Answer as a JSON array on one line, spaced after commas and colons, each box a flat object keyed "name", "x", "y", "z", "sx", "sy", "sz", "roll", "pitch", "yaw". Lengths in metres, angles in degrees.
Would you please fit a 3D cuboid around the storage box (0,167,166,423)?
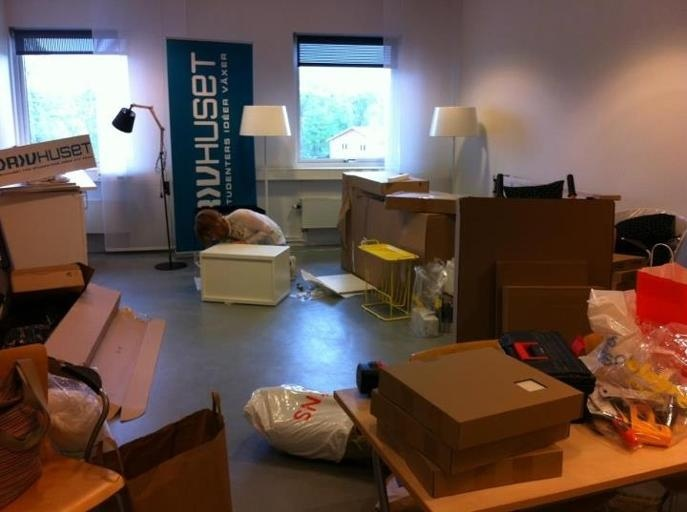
[{"name": "storage box", "x": -1.915, "y": 0.217, "z": 3.812, "sx": 0.931, "sy": 1.188, "sz": 1.663, "roll": -8, "pitch": 20, "yaw": -15}]

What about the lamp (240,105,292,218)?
[{"name": "lamp", "x": -1.006, "y": -1.239, "z": 6.754, "sx": 0.602, "sy": 1.430, "sz": 1.042, "roll": -1, "pitch": 13, "yaw": -6}]

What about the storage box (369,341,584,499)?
[{"name": "storage box", "x": 0.350, "y": 0.414, "z": 1.614, "sx": 0.418, "sy": 0.218, "sz": 0.426, "roll": -5, "pitch": 12, "yaw": -21}]

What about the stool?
[{"name": "stool", "x": 0.406, "y": 0.246, "z": 4.797, "sx": 0.333, "sy": 0.580, "sz": 0.594, "roll": -3, "pitch": 9, "yaw": -25}]

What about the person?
[{"name": "person", "x": -1.084, "y": -0.286, "z": 5.390, "sx": 0.918, "sy": 0.394, "sz": 0.341, "roll": -2, "pitch": 13, "yaw": -13}]

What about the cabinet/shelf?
[{"name": "cabinet/shelf", "x": -0.978, "y": 0.165, "z": 5.079, "sx": 0.752, "sy": 0.494, "sz": 0.446, "roll": 3, "pitch": 16, "yaw": 11}]
